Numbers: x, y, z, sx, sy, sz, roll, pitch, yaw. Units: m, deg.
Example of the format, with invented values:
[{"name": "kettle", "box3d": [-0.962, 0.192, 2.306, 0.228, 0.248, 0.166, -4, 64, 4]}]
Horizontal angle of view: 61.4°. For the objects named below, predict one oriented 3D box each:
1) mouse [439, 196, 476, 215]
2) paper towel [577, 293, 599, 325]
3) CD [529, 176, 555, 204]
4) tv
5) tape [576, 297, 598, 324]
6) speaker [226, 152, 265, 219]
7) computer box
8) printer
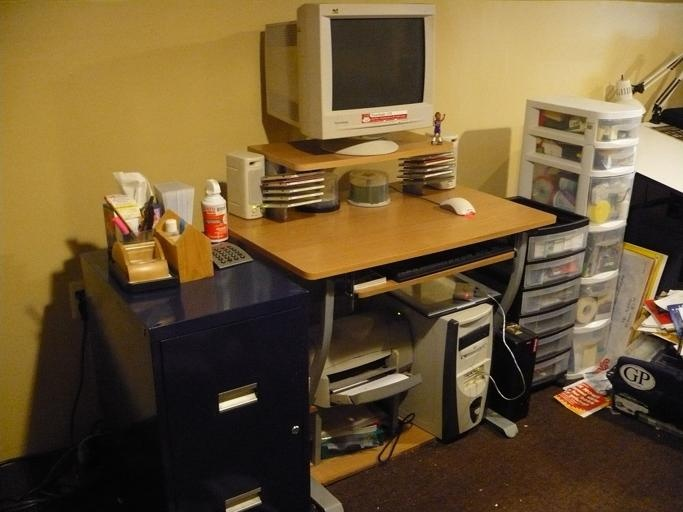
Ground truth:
[{"name": "mouse", "box3d": [0.511, -0.221, 2.482, 0.076, 0.040, 0.123, -15, 30, -28]}, {"name": "paper towel", "box3d": [1.244, 0.266, 2.940, 0.142, 0.142, 0.033, 10, 2, -39]}, {"name": "CD", "box3d": [1.032, -0.346, 2.946, 0.032, 0.126, 0.131, -3, 34, -35]}, {"name": "tv", "box3d": [-0.006, -0.750, 2.568, 0.805, 0.598, 0.561, -11, 24, -30]}, {"name": "tape", "box3d": [1.251, 0.275, 2.936, 0.031, 0.137, 0.137, 9, 8, 43]}, {"name": "speaker", "box3d": [-0.396, -0.290, 2.411, 0.141, 0.301, 0.132, -12, 27, -32]}, {"name": "computer box", "box3d": [0.468, 0.489, 2.647, 0.325, 0.669, 0.317, -7, 23, -23]}, {"name": "printer", "box3d": [0.078, 0.404, 2.525, 0.511, 0.376, 0.374, -16, 36, -25]}]
